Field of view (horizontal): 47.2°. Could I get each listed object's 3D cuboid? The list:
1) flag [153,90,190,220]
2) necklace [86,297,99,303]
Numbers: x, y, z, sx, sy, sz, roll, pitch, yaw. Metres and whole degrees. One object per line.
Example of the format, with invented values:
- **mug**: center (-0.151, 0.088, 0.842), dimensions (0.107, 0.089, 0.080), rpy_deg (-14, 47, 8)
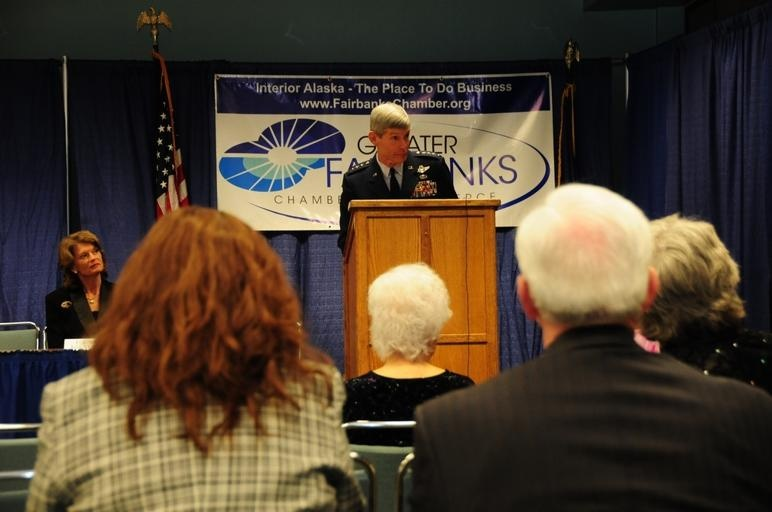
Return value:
- **flag**: center (-1.890, -0.885, 7.714), dimensions (0.269, 0.860, 0.347), rpy_deg (1, 0, -15)
- **necklace**: center (-2.219, 0.329, 6.613), dimensions (0.050, 0.050, 0.017), rpy_deg (1, -29, -17)
